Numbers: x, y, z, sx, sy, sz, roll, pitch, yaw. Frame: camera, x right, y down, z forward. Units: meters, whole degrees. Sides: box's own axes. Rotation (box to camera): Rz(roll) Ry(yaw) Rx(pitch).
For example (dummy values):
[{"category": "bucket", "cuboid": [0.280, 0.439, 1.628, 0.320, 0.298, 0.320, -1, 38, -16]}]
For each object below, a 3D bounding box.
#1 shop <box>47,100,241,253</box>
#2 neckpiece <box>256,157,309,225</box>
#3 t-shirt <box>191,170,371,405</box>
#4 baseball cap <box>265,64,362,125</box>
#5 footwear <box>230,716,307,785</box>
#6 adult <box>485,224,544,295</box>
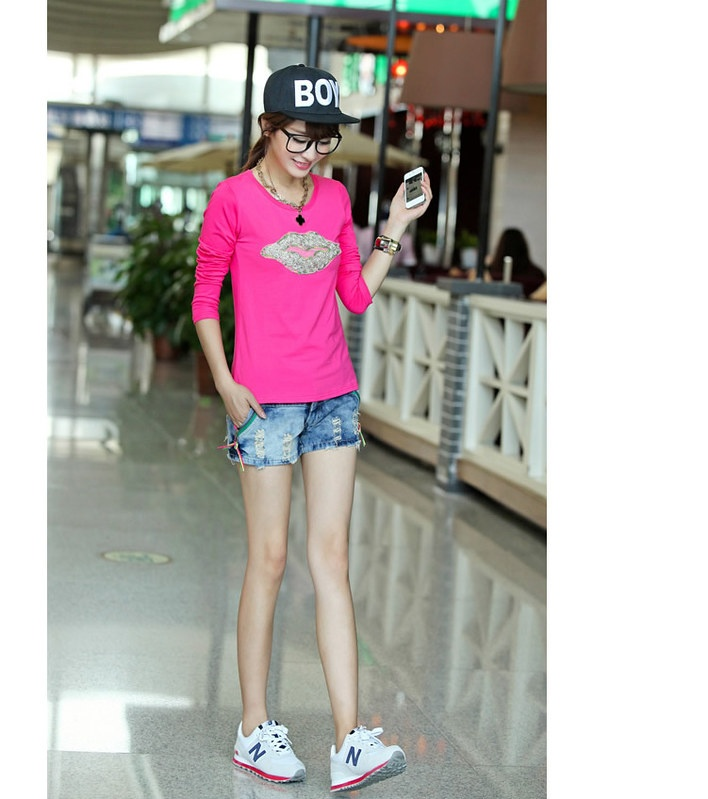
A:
[{"category": "shop", "cuboid": [-6.377, -5.244, 19.726, 3.265, 3.977, 5.966, -4, 9, -7]}, {"category": "neckpiece", "cuboid": [-0.152, -0.418, 1.501, 0.102, 0.139, 0.025, -26, 6, -37]}, {"category": "t-shirt", "cuboid": [-0.152, -0.227, 1.530, 0.337, 0.476, 0.133, 3, 5, -14]}, {"category": "baseball cap", "cuboid": [-0.086, -0.600, 1.454, 0.140, 0.116, 0.216, -11, 26, -39]}, {"category": "footwear", "cuboid": [-0.183, 0.748, 1.582, 0.077, 0.098, 0.214, 18, -19, -40]}, {"category": "adult", "cuboid": [1.414, -1.227, 6.387, 0.470, 0.583, 0.956, 5, 5, 10]}]
